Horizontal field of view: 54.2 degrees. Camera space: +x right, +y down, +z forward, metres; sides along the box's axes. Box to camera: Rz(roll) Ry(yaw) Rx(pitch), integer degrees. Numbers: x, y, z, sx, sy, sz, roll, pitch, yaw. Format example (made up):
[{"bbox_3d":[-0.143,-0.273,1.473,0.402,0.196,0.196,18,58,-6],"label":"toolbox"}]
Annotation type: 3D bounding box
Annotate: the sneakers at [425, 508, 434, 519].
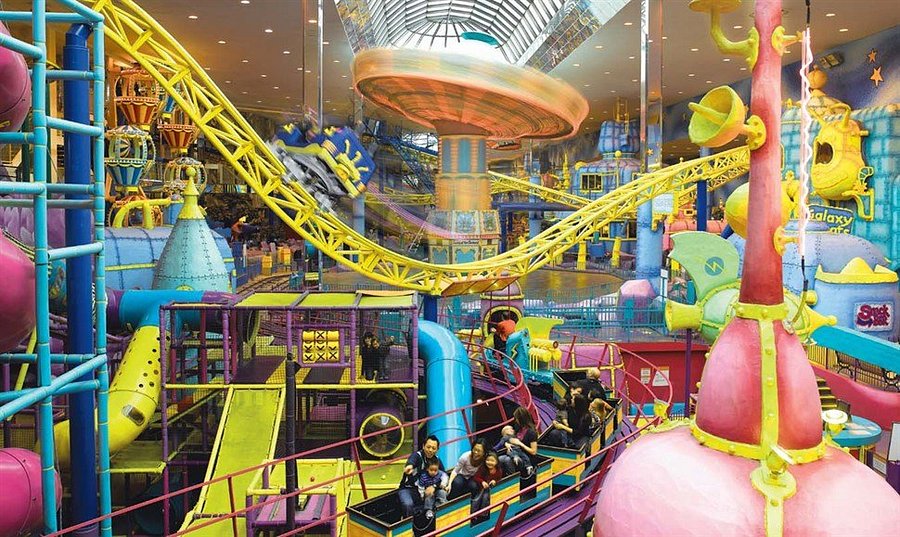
[{"bbox_3d":[-0.321,3.730,13.232,0.112,0.144,0.043,2,-5,-1],"label":"sneakers"}]
